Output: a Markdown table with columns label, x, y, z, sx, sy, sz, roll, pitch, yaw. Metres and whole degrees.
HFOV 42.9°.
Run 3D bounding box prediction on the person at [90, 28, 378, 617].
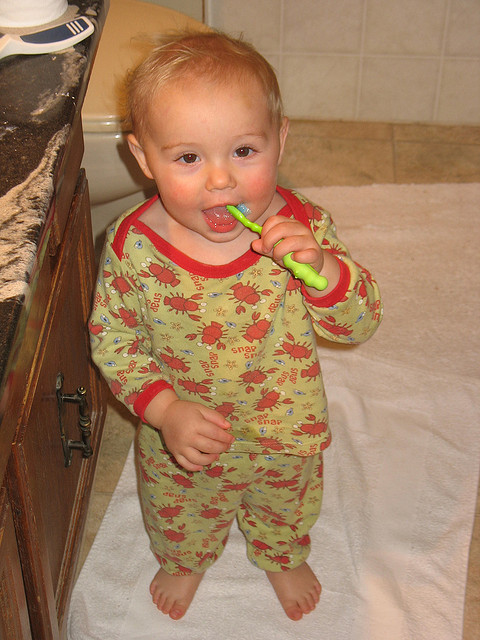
| label | x | y | z | sx | sy | sz | roll | pitch | yaw |
| --- | --- | --- | --- | --- | --- | --- | --- | --- | --- |
| person | -0.004 | 0.088 | 0.760 | 0.347 | 0.763 | 0.311 | 1 | 29 | 4 |

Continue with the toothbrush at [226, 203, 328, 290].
| label | x | y | z | sx | sy | sz | roll | pitch | yaw |
| --- | --- | --- | --- | --- | --- | --- | --- | --- | --- |
| toothbrush | 0.042 | -0.072 | 0.583 | 0.118 | 0.056 | 0.036 | 30 | 50 | 27 |
